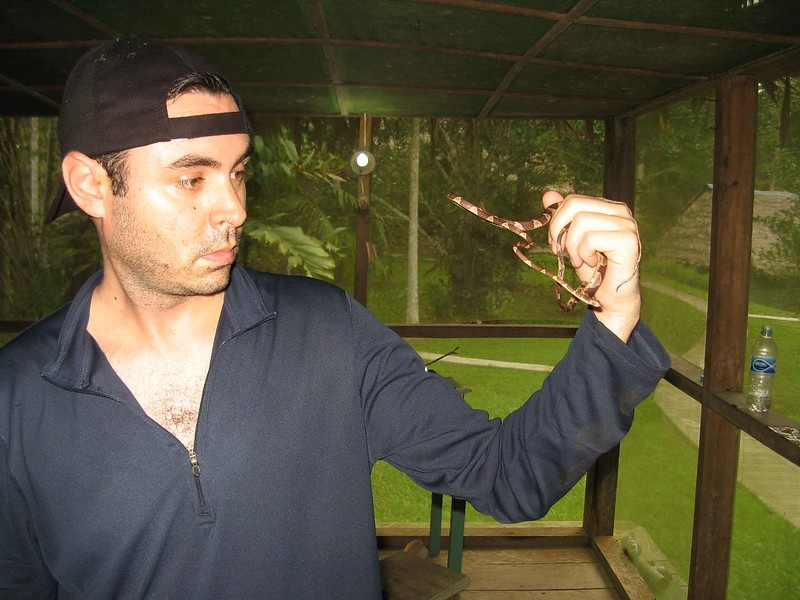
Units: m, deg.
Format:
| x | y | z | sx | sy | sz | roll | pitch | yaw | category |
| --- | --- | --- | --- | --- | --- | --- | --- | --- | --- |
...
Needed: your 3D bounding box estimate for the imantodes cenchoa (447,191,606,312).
| x | y | z | sx | sy | sz | roll | pitch | yaw | category |
| --- | --- | --- | --- | --- | --- | --- | --- | --- | --- |
| 0.605 | -0.234 | 3.220 | 0.591 | 0.485 | 1.031 | 0 | 8 | 15 | imantodes cenchoa |
